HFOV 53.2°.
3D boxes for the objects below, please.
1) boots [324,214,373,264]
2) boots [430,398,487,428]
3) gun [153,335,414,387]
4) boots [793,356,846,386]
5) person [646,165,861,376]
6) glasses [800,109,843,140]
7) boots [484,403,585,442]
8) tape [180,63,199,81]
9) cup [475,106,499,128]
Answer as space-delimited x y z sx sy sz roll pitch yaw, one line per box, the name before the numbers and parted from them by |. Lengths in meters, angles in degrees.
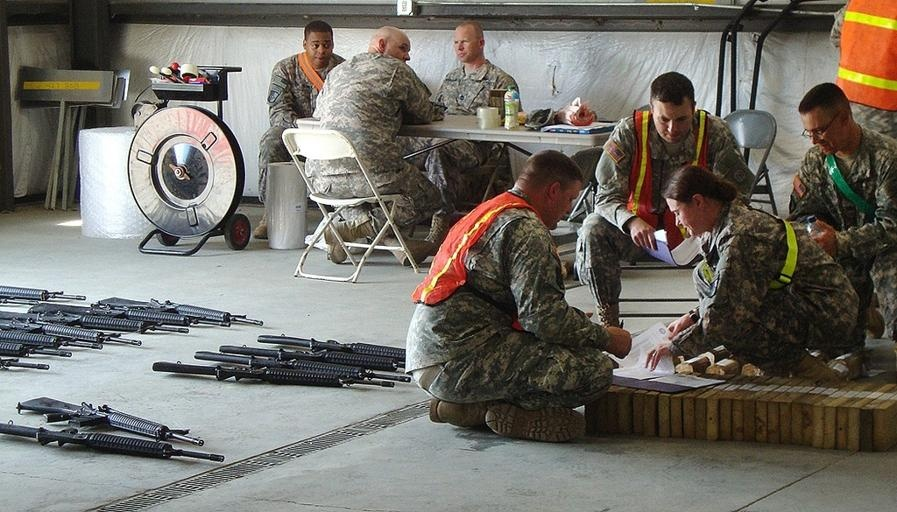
boots | -1.013 -0.138 8.832 0.591 0.427 0.383 5 4 9
boots | 0.058 0.952 5.391 0.276 0.094 0.198 -6 -10 26
gun | -1.089 0.744 6.188 1.182 0.128 0.602 4 5 20
boots | 2.378 0.742 5.798 0.288 0.104 0.208 7 8 -33
person | 1.979 0.122 5.774 1.409 1.360 0.450 -1 7 -19
glasses | 2.615 -0.920 6.249 0.245 0.171 0.276 -9 2 37
boots | 0.507 0.997 5.282 0.668 0.184 0.248 3 -6 8
tape | -2.769 -1.930 9.551 0.161 0.124 0.194 22 -41 -34
cup | 0.383 -1.307 8.542 0.225 0.159 0.232 -1 0 0
